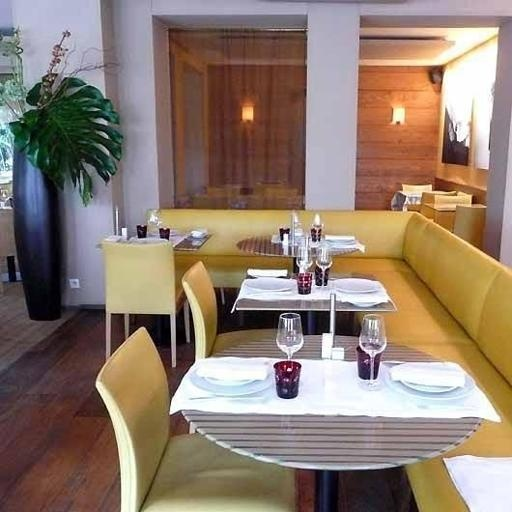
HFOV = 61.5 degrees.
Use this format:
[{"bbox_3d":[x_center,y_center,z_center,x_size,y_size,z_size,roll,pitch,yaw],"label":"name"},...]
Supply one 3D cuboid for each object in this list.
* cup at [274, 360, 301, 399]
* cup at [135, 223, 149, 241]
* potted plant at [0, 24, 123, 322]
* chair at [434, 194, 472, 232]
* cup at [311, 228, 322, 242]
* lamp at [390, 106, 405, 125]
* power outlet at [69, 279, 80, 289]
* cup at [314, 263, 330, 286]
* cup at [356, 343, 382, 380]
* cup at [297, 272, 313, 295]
[{"bbox_3d":[0.077,0.307,1.085,0.062,0.069,0.076,0,11,-8],"label":"cup"},{"bbox_3d":[-0.935,-0.194,3.530,0.093,0.124,0.099,1,11,0],"label":"cup"},{"bbox_3d":[-1.816,-0.748,4.096,0.966,2.649,0.699,-6,12,-29],"label":"potted plant"},{"bbox_3d":[2.724,-0.606,5.965,0.518,0.718,0.517,0,4,7],"label":"chair"},{"bbox_3d":[0.458,-0.164,3.284,0.081,0.118,0.092,2,14,8],"label":"cup"},{"bbox_3d":[2.675,-2.624,8.106,0.282,0.457,0.309,2,13,10],"label":"lamp"},{"bbox_3d":[-1.827,0.281,4.349,0.082,0.098,0.011,0,8,-2],"label":"power outlet"},{"bbox_3d":[0.327,0.093,2.198,0.097,0.157,0.077,0,3,4],"label":"cup"},{"bbox_3d":[0.297,0.287,1.188,0.068,0.093,0.078,-1,8,0],"label":"cup"},{"bbox_3d":[0.227,0.131,2.044,0.077,0.130,0.097,-1,11,5],"label":"cup"}]
